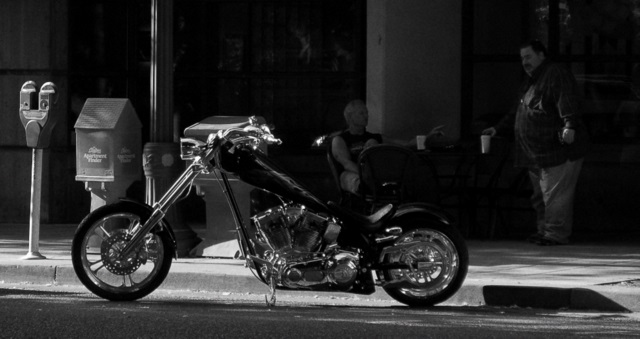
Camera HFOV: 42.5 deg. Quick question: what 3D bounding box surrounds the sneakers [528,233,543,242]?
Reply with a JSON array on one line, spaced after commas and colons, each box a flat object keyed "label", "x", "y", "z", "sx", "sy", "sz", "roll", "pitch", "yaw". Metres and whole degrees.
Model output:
[{"label": "sneakers", "x": 3.521, "y": 1.119, "z": 13.450, "sx": 0.140, "sy": 0.150, "sz": 0.358, "roll": 0, "pitch": -6, "yaw": 14}]

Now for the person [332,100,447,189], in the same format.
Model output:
[{"label": "person", "x": 0.976, "y": -0.341, "z": 12.063, "sx": 1.925, "sy": 1.244, "sz": 1.154, "roll": 1, "pitch": 9, "yaw": 40}]

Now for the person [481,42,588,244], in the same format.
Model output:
[{"label": "person", "x": 3.658, "y": -0.398, "z": 13.111, "sx": 1.109, "sy": 3.276, "sz": 0.515, "roll": 3, "pitch": 7, "yaw": 20}]

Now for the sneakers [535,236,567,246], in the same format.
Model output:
[{"label": "sneakers", "x": 3.753, "y": 1.166, "z": 13.362, "sx": 0.557, "sy": 0.203, "sz": 0.173, "roll": 0, "pitch": 3, "yaw": 0}]
